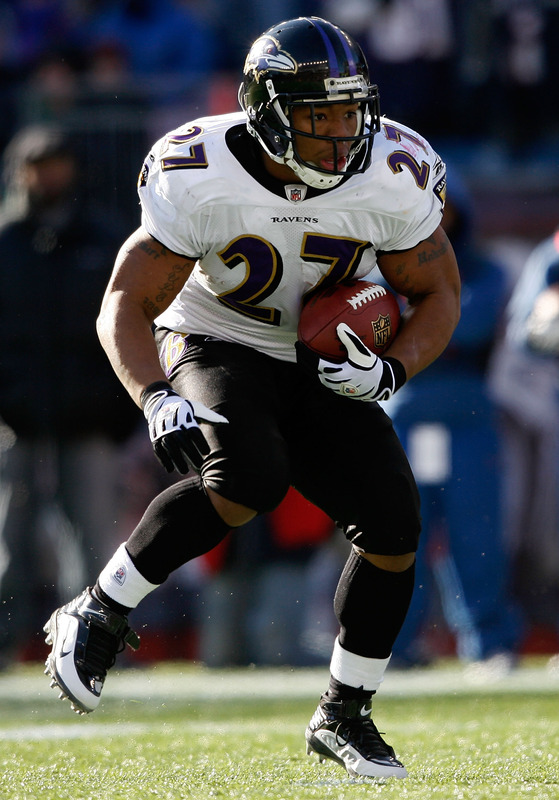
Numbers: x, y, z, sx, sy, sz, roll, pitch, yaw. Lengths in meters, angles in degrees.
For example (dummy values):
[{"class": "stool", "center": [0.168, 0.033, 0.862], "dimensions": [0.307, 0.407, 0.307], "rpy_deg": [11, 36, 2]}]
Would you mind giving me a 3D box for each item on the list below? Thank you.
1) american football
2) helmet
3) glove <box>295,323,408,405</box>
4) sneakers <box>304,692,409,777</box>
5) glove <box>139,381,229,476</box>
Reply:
[{"class": "american football", "center": [0.125, -0.149, 1.656], "dimensions": [0.127, 0.104, 0.183], "rpy_deg": [41, 32, 22]}, {"class": "helmet", "center": [0.053, -0.529, 1.598], "dimensions": [0.245, 0.263, 0.295], "rpy_deg": [0, 28, -3]}, {"class": "glove", "center": [0.103, -0.068, 1.584], "dimensions": [0.185, 0.071, 0.116], "rpy_deg": [31, 19, 26]}, {"class": "sneakers", "center": [0.135, 0.598, 1.608], "dimensions": [0.083, 0.128, 0.260], "rpy_deg": [13, -10, -29]}, {"class": "glove", "center": [-0.159, 0.053, 1.391], "dimensions": [0.121, 0.140, 0.044], "rpy_deg": [-23, -6, -35]}]
